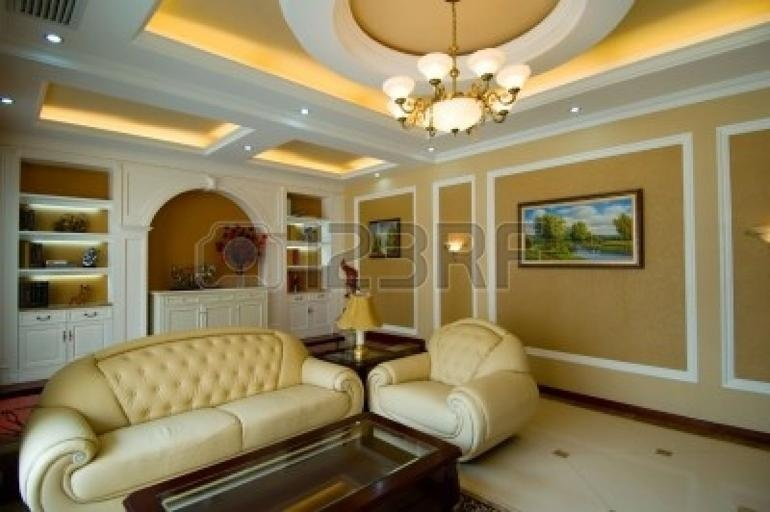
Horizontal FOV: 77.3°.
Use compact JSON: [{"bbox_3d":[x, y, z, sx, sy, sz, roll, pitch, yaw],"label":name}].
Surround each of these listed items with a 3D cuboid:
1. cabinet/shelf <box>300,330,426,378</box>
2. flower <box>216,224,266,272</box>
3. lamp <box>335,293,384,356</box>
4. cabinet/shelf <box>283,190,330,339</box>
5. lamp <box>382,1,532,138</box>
[{"bbox_3d":[-0.371,1.261,6.100,0.968,0.590,0.978,1,-4,-43],"label":"cabinet/shelf"},{"bbox_3d":[-2.482,-0.170,8.240,0.705,0.872,0.212,2,2,-26],"label":"flower"},{"bbox_3d":[-0.320,0.828,5.922,0.676,0.855,0.680,1,-7,-5],"label":"lamp"},{"bbox_3d":[-1.511,0.144,9.014,0.530,2.686,1.018,-2,1,45],"label":"cabinet/shelf"},{"bbox_3d":[0.661,-1.828,4.933,1.336,1.164,1.313,-2,0,2],"label":"lamp"}]
